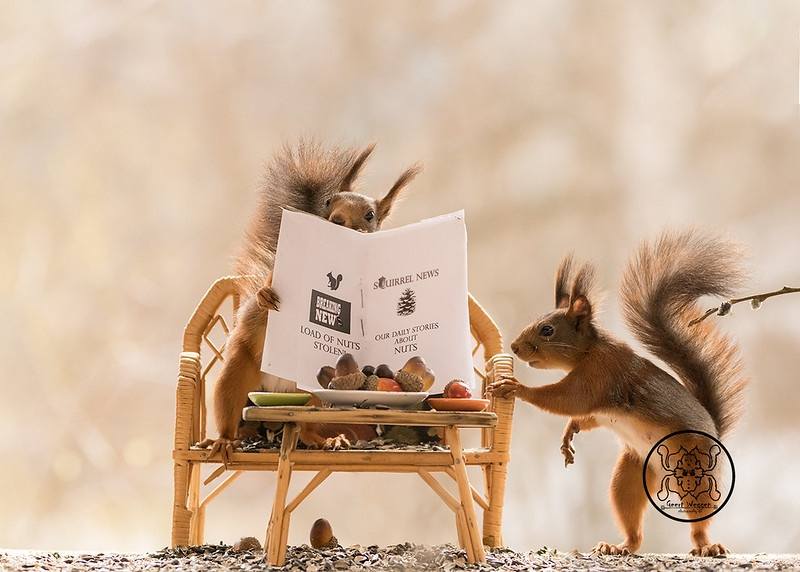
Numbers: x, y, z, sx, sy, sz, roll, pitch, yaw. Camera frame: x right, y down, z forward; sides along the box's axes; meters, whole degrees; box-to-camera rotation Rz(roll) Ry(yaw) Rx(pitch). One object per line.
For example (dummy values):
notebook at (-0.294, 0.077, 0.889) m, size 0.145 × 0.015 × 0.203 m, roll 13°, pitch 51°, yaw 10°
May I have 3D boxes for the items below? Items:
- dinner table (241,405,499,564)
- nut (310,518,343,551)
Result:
dinner table at (-0.048, 0.959, 6.560) m, size 1.291 × 0.930 × 0.908 m, roll 2°, pitch -37°, yaw -2°
nut at (-0.411, 1.325, 6.905) m, size 0.133 × 0.238 × 0.139 m, roll 3°, pitch -13°, yaw -19°
